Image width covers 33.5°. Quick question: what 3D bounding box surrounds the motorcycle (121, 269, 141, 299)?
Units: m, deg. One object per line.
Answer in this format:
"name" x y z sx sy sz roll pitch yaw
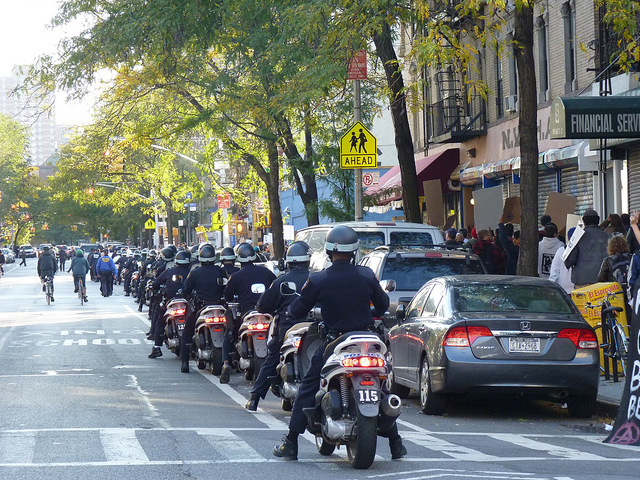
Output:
"motorcycle" -7.586 1.718 42.708 0.976 1.095 1.937 2 9 -8

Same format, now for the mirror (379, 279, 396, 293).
"mirror" 0.932 0.613 14.404 0.235 0.092 0.245 3 2 -26

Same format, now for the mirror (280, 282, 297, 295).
"mirror" -0.367 0.557 12.520 0.177 0.160 0.024 5 -11 -33

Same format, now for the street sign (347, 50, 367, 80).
"street sign" 0.799 -3.731 22.717 0.606 0.673 0.072 -15 27 -38

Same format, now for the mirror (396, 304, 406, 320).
"mirror" 1.122 0.947 14.061 0.188 0.171 0.187 0 2 -18

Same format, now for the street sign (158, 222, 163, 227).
"street sign" -11.539 -1.153 76.927 0.275 0.314 0.496 -7 1 1

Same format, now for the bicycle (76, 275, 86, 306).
"bicycle" -8.627 1.739 38.427 0.235 0.939 1.163 -3 0 -12

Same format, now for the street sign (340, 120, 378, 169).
"street sign" 0.850 -2.031 22.805 0.919 1.010 0.016 -4 6 -26

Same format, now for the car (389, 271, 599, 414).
"car" 2.423 1.414 14.577 2.745 1.363 1.521 -2 0 19

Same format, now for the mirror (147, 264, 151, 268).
"mirror" -5.133 0.762 31.944 0.167 0.145 0.162 2 -3 -9

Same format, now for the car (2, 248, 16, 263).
"car" -32.362 1.483 110.314 1.655 1.138 3.235 0 -4 -5

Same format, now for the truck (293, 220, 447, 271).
"truck" 0.973 -0.060 20.379 1.305 0.949 2.439 -1 2 -27

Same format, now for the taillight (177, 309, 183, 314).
"taillight" -2.612 1.321 19.858 0.108 0.067 0.054 -2 1 -19

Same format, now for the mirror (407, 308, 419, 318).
"mirror" 1.401 1.059 15.630 0.142 0.124 0.036 2 -13 31

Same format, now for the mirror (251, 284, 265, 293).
"mirror" -0.958 0.742 16.576 0.209 0.107 0.145 -2 0 -4

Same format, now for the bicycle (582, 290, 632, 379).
"bicycle" 4.703 1.468 16.470 0.851 0.955 1.627 -2 5 -1

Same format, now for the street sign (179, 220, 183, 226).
"street sign" -9.141 -1.149 69.293 0.433 0.393 0.415 0 -2 11

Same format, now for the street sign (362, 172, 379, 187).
"street sign" 1.204 -1.403 24.832 0.485 0.383 0.065 0 -29 -10

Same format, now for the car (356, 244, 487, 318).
"car" 1.674 0.633 16.855 1.163 0.861 1.828 -1 2 -9

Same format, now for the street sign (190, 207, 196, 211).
"street sign" -7.450 -1.832 62.244 0.241 0.162 0.245 -3 1 9

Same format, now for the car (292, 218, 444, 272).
"car" 0.901 -0.070 20.480 1.294 0.973 2.454 -1 2 -28

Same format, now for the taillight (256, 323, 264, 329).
"taillight" -0.909 1.296 16.209 0.086 0.073 0.019 4 -4 1

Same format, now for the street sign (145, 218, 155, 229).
"street sign" -11.797 -1.118 74.207 0.752 0.596 0.731 2 -9 -20

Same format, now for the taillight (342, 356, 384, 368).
"taillight" 0.467 1.273 11.259 0.431 0.093 0.053 -2 1 -4

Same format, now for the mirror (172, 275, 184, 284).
"mirror" -2.747 0.734 20.512 0.191 0.141 0.148 -2 0 -9

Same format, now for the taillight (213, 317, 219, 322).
"taillight" -1.765 1.331 18.078 0.067 0.016 0.067 -10 29 -2

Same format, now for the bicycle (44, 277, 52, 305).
"bicycle" -9.644 1.766 37.640 0.210 0.868 0.623 -3 1 -17
